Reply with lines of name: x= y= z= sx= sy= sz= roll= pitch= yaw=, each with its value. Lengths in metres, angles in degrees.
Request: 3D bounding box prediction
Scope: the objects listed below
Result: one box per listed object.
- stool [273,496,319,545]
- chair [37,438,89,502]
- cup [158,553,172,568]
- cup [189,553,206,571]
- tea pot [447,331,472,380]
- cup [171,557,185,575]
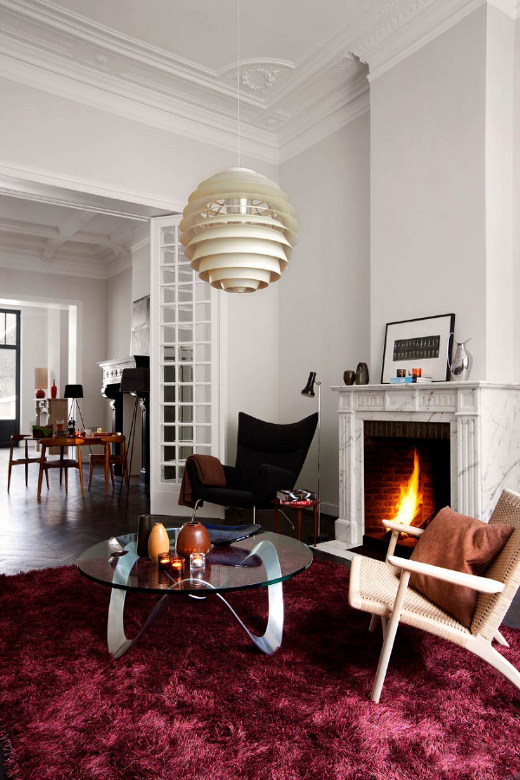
stool: x=0.355 y=1.049 z=4.711 sx=0.361 sy=0.423 sz=0.414 roll=3 pitch=-3 yaw=-32
chair: x=-2.462 y=1.020 z=7.091 sx=0.651 sy=1.029 sz=0.706 roll=0 pitch=3 yaw=-28
cup: x=-0.368 y=0.667 z=2.203 sx=0.042 sy=0.048 sz=0.047 roll=2 pitch=-4 yaw=-13
cup: x=-0.242 y=0.677 z=2.216 sx=0.053 sy=0.061 sz=0.052 roll=1 pitch=-3 yaw=0
tea pot: x=1.234 y=-0.175 z=3.477 sx=0.125 sy=0.227 sz=0.121 roll=0 pitch=-2 yaw=0
cup: x=-0.311 y=0.675 z=2.169 sx=0.045 sy=0.056 sz=0.050 roll=0 pitch=-5 yaw=0
